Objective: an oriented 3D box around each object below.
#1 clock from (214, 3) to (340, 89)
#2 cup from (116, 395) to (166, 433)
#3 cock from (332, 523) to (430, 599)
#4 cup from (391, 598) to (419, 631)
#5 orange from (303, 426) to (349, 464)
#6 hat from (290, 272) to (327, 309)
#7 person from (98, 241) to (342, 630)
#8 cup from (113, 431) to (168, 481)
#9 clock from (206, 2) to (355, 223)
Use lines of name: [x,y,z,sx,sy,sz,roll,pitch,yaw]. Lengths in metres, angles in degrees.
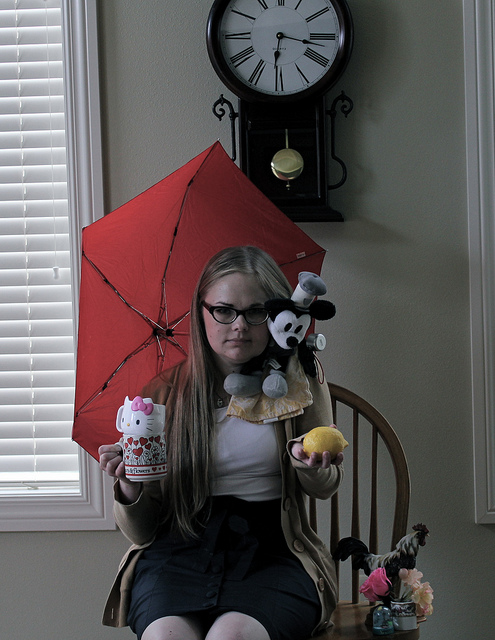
clock: [0.078,-0.695,1.738,0.232,0.215,0.023,0,-2,0]
cup: [-0.193,0.164,1.197,0.080,0.060,0.060,-7,-12,29]
cock: [0.268,0.471,1.398,0.193,0.143,0.053,-3,0,24]
cup: [0.299,0.564,1.321,0.050,0.045,0.049,0,-11,0]
orange: [0.130,0.214,1.173,0.074,0.062,0.059,-3,0,5]
hat: [0.113,-0.057,1.296,0.048,0.068,0.062,-3,0,-23]
person: [-0.065,0.214,1.298,0.462,0.737,0.364,-3,0,5]
cup: [-0.176,0.233,1.182,0.095,0.070,0.062,-8,-11,33]
clock: [0.101,-0.515,1.856,0.328,0.597,0.222,-1,15,1]
